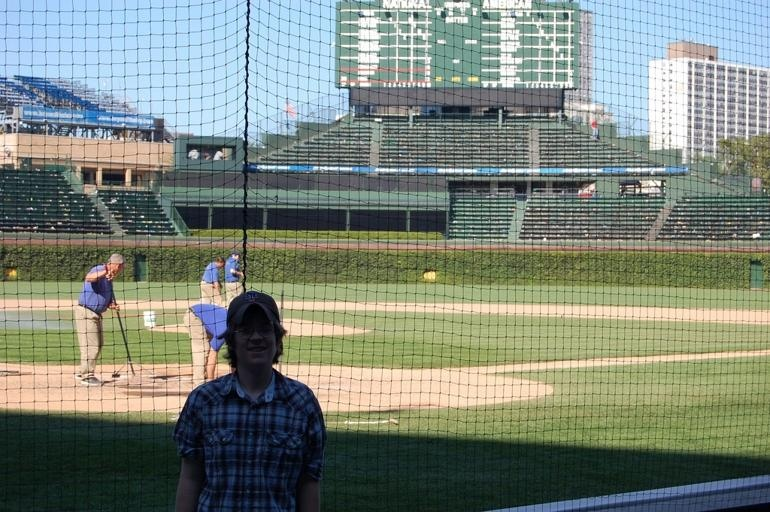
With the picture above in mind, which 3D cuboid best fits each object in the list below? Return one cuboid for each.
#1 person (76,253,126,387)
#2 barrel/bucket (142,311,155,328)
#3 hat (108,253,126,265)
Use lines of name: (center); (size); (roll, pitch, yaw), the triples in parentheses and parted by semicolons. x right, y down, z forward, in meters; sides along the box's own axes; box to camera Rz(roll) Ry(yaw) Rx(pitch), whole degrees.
person: (-7.074, 1.482, 36.400); (1.101, 3.091, 1.291); (2, 15, 1)
barrel/bucket: (-5.953, 1.573, 37.526); (0.234, 0.480, 0.486); (2, 14, -2)
hat: (-6.615, 0.055, 36.411); (0.360, 0.287, 0.425); (-1, 14, -13)
